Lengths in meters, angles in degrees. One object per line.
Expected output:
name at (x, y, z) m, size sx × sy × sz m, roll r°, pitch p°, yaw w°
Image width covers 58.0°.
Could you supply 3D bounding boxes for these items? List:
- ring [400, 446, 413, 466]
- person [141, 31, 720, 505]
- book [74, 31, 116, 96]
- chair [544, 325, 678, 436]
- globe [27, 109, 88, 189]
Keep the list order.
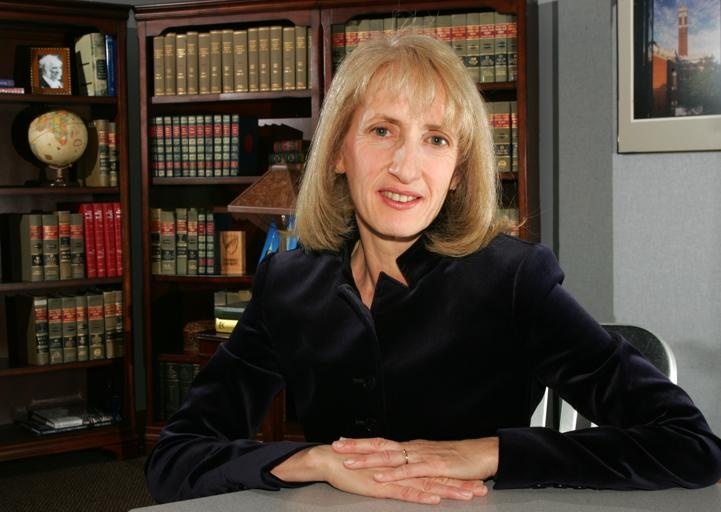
ring at (0.111, 0.492, 1.600) m, size 0.021 × 0.052 × 0.042 m, roll -11°, pitch 24°, yaw -5°
person at (0.145, 0.003, 1.645) m, size 1.378 × 1.197 × 0.570 m, roll -1°, pitch 6°, yaw 21°
book at (-1.563, -1.099, 3.774) m, size 0.290 × 0.355 × 0.101 m, roll 0°, pitch 6°, yaw 28°
chair at (0.658, 0.323, 1.698) m, size 0.269 × 0.339 × 0.239 m, roll -7°, pitch -30°, yaw 30°
globe at (-1.822, -0.644, 3.884) m, size 0.327 × 0.470 × 0.356 m, roll -14°, pitch 32°, yaw -39°
